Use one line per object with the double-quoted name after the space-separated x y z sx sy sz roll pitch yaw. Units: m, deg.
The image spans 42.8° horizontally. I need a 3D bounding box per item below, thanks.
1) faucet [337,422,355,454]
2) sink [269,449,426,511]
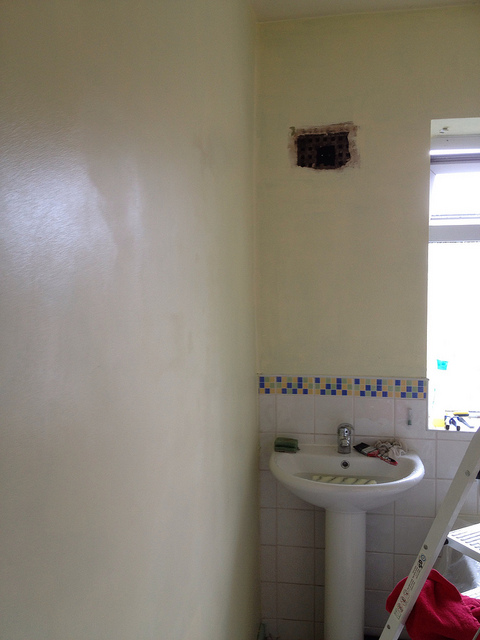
0.404 0.454 2.328 0.076 0.148 0.067 1 -11 -2 "faucet"
0.367 0.583 2.151 0.537 0.184 0.445 2 6 10 "sink"
